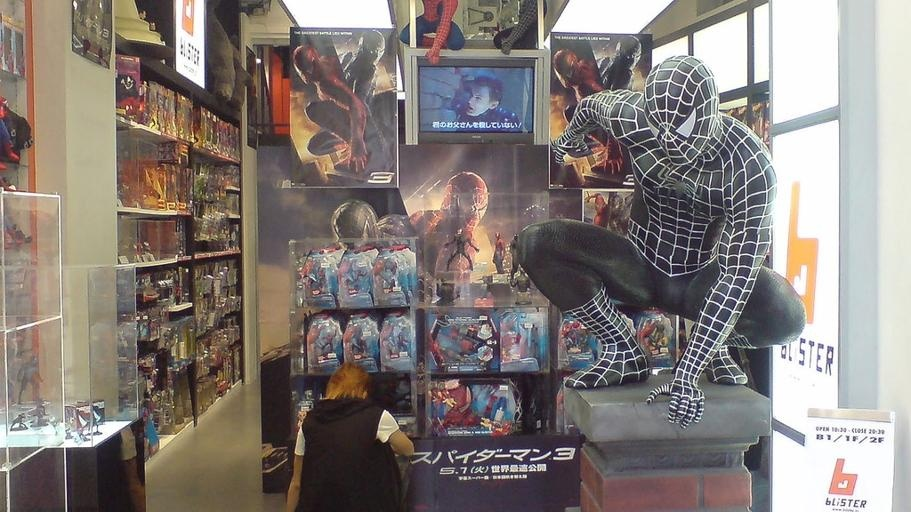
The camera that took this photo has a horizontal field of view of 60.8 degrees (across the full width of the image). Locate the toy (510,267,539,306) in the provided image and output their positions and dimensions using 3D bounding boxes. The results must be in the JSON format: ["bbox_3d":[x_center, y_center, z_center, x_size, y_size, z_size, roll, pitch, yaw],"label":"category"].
[{"bbox_3d":[0.472,0.219,5.447,0.178,0.278,0.256,-1,7,7],"label":"toy"}]

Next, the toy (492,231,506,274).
[{"bbox_3d":[0.319,-0.020,5.518,0.083,0.285,0.031,-1,-1,-7],"label":"toy"}]

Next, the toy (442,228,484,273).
[{"bbox_3d":[0.061,-0.034,5.504,0.309,0.343,0.115,3,7,10],"label":"toy"}]
